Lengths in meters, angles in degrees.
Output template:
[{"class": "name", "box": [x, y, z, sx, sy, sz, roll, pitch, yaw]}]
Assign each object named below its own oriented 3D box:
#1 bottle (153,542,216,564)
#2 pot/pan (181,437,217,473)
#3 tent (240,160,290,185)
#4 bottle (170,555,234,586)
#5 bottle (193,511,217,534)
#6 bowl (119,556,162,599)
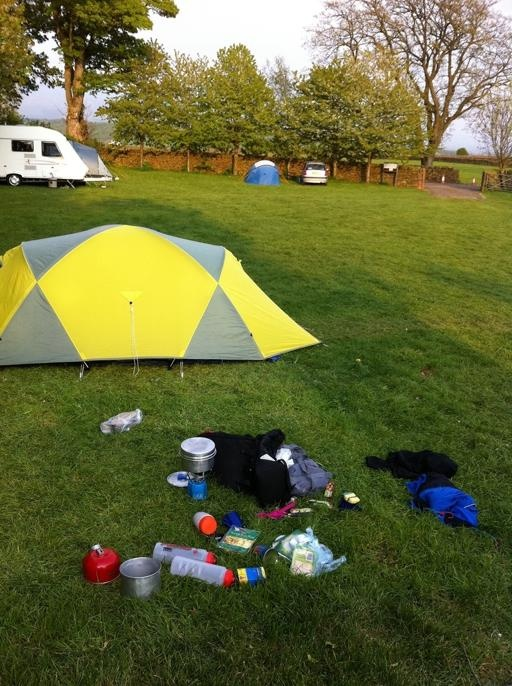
[{"class": "bottle", "box": [-0.430, 1.393, 3.476, 0.460, 0.140, 0.141, 2, -23, 15]}, {"class": "pot/pan", "box": [-0.467, 0.926, 4.186, 0.268, 0.262, 0.270, 13, 17, 34]}, {"class": "tent", "box": [0.383, -8.451, 25.881, 1.656, 1.259, 1.501, 6, 14, 9]}, {"class": "bottle", "box": [-0.346, 1.450, 3.370, 0.451, 0.147, 0.147, 5, 53, 12]}, {"class": "bottle", "box": [-0.371, 1.315, 3.832, 0.189, 0.145, 0.193, 3, 14, -1]}, {"class": "bowl", "box": [-0.701, 1.419, 3.170, 0.224, 0.130, 0.218, 1, 0, 0]}]
